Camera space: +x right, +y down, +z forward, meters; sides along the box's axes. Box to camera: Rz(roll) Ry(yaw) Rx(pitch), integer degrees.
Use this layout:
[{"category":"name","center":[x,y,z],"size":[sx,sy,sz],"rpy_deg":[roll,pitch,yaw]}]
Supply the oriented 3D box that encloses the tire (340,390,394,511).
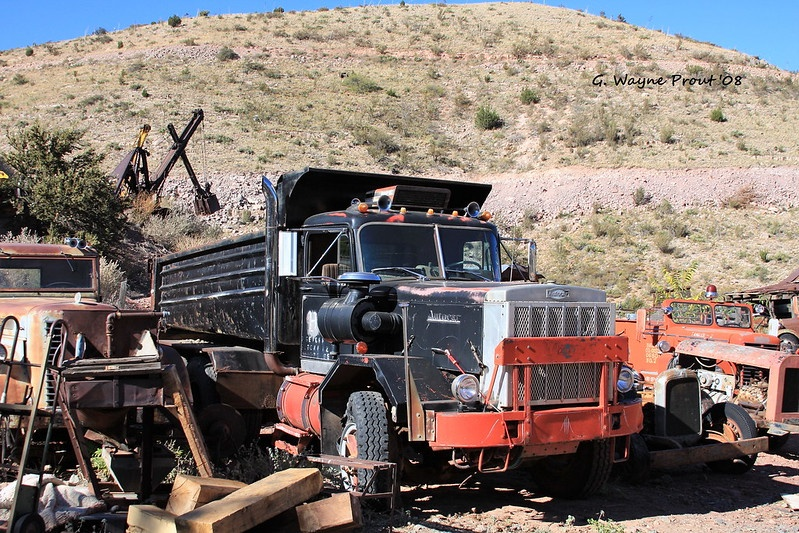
[{"category":"tire","center":[-0.464,2.726,11.427],"size":[0.623,1.645,1.685],"rpy_deg":[2,-6,-15]}]

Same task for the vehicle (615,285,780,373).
[{"category":"vehicle","center":[6.449,1.422,18.028],"size":[2.254,1.655,3.577],"rpy_deg":[0,-3,-34]}]

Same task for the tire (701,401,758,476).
[{"category":"tire","center":[5.763,3.066,13.783],"size":[0.427,1.286,1.178],"rpy_deg":[0,7,-27]}]

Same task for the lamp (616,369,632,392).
[{"category":"lamp","center":[3.504,1.803,12.223],"size":[0.355,0.327,0.133],"rpy_deg":[1,0,-39]}]

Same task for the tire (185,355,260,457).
[{"category":"tire","center":[-2.942,2.383,12.966],"size":[0.668,0.625,1.502],"rpy_deg":[10,6,-20]}]

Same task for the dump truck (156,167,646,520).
[{"category":"dump truck","center":[-0.554,1.024,12.967],"size":[8.137,3.866,3.101],"rpy_deg":[0,0,31]}]
